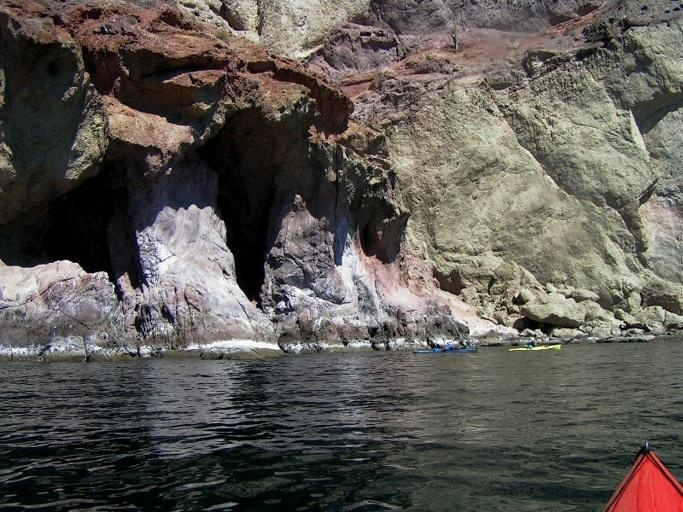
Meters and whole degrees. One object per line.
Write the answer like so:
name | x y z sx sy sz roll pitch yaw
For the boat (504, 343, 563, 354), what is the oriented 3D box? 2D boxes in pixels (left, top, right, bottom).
boat | 11.061 5.198 32.838 2.739 0.260 4.293 -5 -7 24

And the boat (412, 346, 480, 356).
boat | 5.576 5.095 31.123 5.497 0.271 2.595 3 -8 -37
